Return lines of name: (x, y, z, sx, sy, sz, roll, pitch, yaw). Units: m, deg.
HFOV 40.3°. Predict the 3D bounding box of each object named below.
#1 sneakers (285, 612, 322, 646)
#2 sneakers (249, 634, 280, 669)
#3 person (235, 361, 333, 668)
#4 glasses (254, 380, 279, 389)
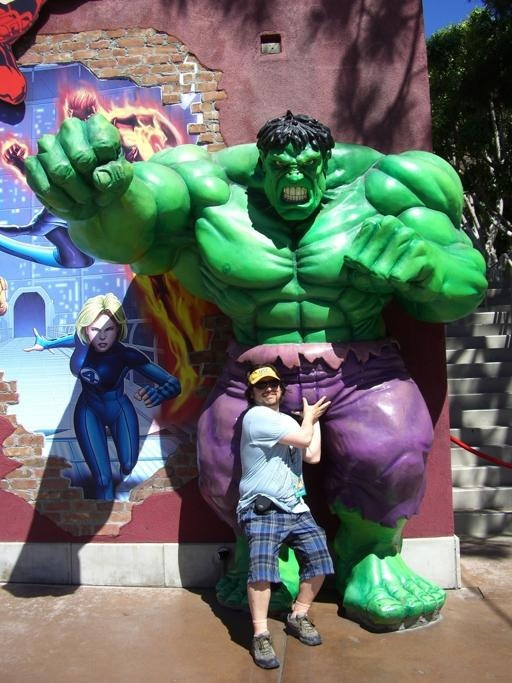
sneakers: (0.227, 1.363, 3.317, 0.085, 0.082, 0.218, 5, -8, -35)
sneakers: (0.042, 1.370, 3.162, 0.117, 0.149, 0.216, -3, 2, -5)
person: (0.129, 0.779, 3.321, 0.435, 1.315, 0.606, -3, 3, 4)
glasses: (0.057, 0.201, 3.334, 0.067, 0.017, 0.059, -5, -17, -6)
